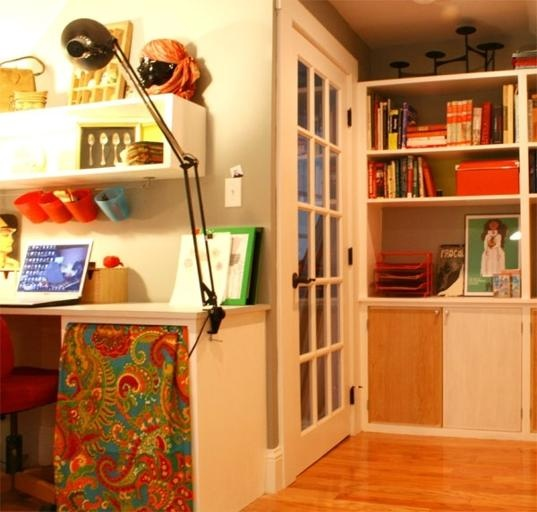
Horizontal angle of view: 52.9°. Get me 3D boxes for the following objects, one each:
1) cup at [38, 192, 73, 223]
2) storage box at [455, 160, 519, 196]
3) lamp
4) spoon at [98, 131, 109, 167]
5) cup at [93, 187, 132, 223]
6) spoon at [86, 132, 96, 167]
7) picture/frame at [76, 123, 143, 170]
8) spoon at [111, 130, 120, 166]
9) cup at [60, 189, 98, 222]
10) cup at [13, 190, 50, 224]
[{"bbox_3d":[-1.066,-0.238,2.687,0.140,0.154,0.144,-1,27,0],"label":"cup"},{"bbox_3d":[1.292,-0.395,3.195,0.302,0.174,0.228,0,1,24],"label":"storage box"},{"bbox_3d":[-0.469,-0.356,2.116,0.597,1.293,0.936,0,-3,-6],"label":"lamp"},{"bbox_3d":[-0.800,-0.515,2.608,0.040,0.168,0.024,0,-8,-6],"label":"spoon"},{"bbox_3d":[-0.740,-0.262,2.636,0.163,0.146,0.172,-20,23,9],"label":"cup"},{"bbox_3d":[-0.861,-0.513,2.619,0.032,0.157,0.023,0,-8,0],"label":"spoon"},{"bbox_3d":[-0.789,-0.543,2.611,0.250,0.231,0.051,-1,3,12],"label":"picture/frame"},{"bbox_3d":[-0.738,-0.521,2.599,0.031,0.176,0.023,0,-10,-4],"label":"spoon"},{"bbox_3d":[-0.906,-0.248,2.666,0.137,0.151,0.172,0,26,2],"label":"cup"},{"bbox_3d":[-1.216,-0.250,2.782,0.190,0.139,0.147,-20,24,-21],"label":"cup"}]
